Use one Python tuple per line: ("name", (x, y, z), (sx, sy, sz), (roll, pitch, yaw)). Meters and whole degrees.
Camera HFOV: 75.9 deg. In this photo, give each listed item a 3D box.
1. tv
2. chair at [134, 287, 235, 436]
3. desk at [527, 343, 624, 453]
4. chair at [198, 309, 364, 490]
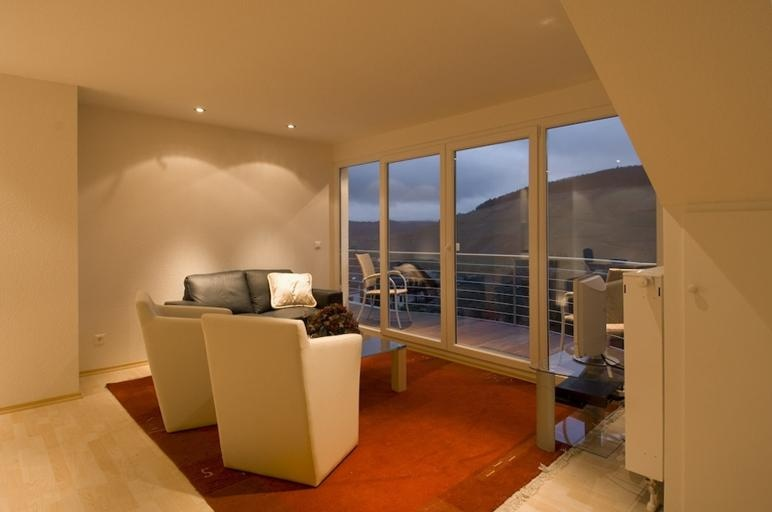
("tv", (1.526, 0.490, 3.624), (0.449, 0.698, 0.221), (-8, 16, -29))
("chair", (-1.640, 0.828, 4.441), (1.085, 1.255, 1.032), (-1, 2, -26))
("desk", (1.404, 0.992, 3.694), (0.645, 0.450, 0.973), (-1, 1, 37))
("chair", (-0.703, 0.954, 3.615), (0.858, 1.091, 0.924), (1, 2, 24))
